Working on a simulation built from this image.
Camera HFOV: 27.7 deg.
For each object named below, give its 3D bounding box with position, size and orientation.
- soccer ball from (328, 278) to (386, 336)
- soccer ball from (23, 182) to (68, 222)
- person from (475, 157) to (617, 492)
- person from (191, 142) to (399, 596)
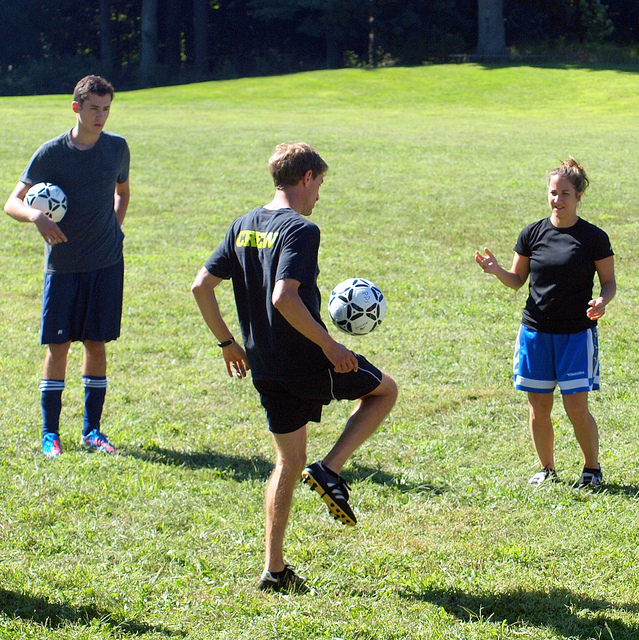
[{"bbox_3d":[0.272,-0.144,9.914,0.406,0.428,0.420,6,37,-4],"label":"soccer ball"},{"bbox_3d":[-2.267,-0.970,10.652,0.329,0.297,0.199,-1,10,-18],"label":"soccer ball"},{"bbox_3d":[1.873,0.021,10.308,0.893,2.608,0.503,4,9,15],"label":"person"},{"bbox_3d":[-0.189,0.325,9.154,1.378,3.121,0.772,3,9,9],"label":"person"}]
